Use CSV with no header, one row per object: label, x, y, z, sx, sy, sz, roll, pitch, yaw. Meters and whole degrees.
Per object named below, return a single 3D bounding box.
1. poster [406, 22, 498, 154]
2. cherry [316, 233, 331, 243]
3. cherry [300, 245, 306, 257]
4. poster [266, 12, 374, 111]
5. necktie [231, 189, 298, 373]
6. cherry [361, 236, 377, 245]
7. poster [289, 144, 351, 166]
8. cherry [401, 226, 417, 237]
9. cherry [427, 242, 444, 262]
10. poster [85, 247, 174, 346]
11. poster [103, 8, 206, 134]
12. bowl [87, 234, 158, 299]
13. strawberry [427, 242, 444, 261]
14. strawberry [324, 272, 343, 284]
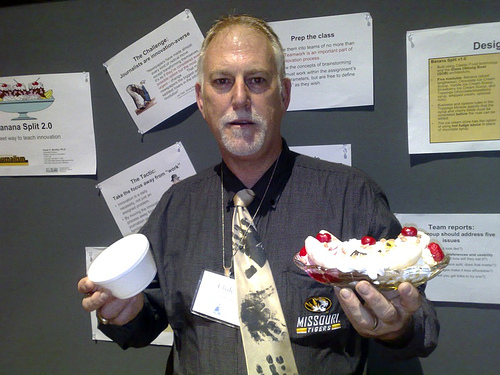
poster,0.831,-0.419,1.860,0.509,0.587,0.047,-1,1,12
cherry,0.230,0.156,1.427,0.028,0.029,0.011,-1,-21,2
cherry,0.169,0.206,1.472,0.018,0.026,0.006,4,-7,34
poster,0.300,-0.526,1.885,0.440,0.336,0.017,-1,-2,14
necktie,0.029,0.382,1.566,0.157,0.458,0.218,-8,9,-13
cherry,0.361,0.161,1.405,0.027,0.027,0.028,-2,2,31
poster,0.301,-0.137,1.969,0.259,0.103,0.027,-4,9,12
cherry,0.498,0.135,1.438,0.045,0.024,0.063,-3,10,18
cherry,0.559,0.194,1.381,0.035,0.053,0.013,-30,-30,14
poster,-0.567,0.503,2.085,0.412,0.462,0.083,-2,10,23
poster,-0.405,-0.531,2.029,0.440,0.361,0.037,-28,-3,8
bowl,-0.415,0.245,1.566,0.199,0.103,0.203,-31,17,10
strawberry,0.558,0.193,1.379,0.032,0.052,0.014,-32,-28,21
strawberry,0.251,0.276,1.385,0.036,0.016,0.042,9,-33,21
